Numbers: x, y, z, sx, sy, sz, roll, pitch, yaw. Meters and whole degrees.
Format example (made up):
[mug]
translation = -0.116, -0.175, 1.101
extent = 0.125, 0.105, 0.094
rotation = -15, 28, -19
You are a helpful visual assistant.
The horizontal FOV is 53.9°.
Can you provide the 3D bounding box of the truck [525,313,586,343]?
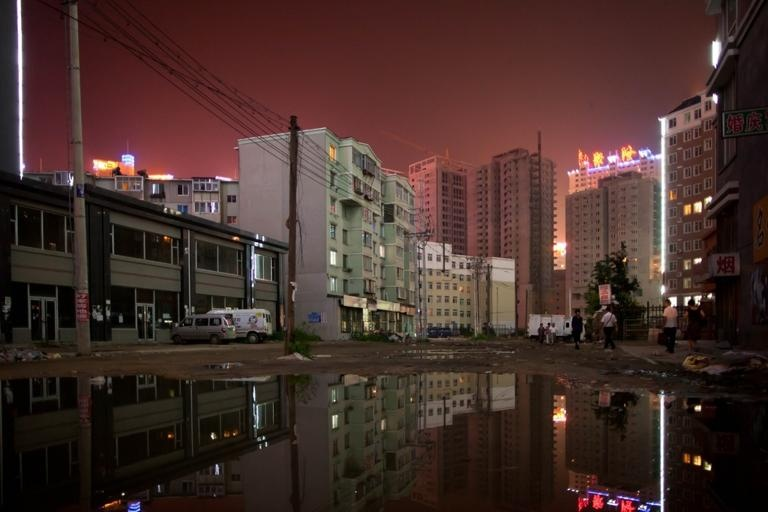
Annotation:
[truck]
translation = 15.604, 6.157, 71.571
extent = 5.399, 3.030, 3.094
rotation = -5, -7, 29
